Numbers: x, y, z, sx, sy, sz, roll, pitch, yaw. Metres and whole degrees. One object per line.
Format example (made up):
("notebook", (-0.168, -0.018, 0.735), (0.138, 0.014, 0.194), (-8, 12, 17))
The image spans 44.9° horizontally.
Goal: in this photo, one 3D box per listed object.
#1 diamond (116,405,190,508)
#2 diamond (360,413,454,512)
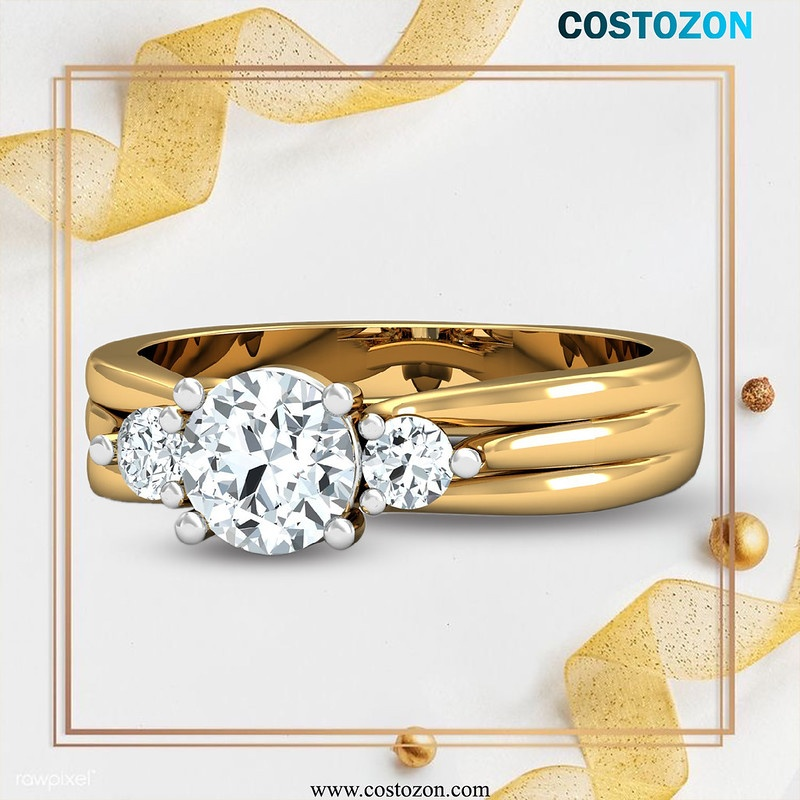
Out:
("diamond", (-0.353, 0.074, 1.357), (0.102, 0.058, 0.123), (8, 81, 5))
("diamond", (0.013, 0.088, 1.332), (0.118, 0.059, 0.124), (40, 85, 9))
